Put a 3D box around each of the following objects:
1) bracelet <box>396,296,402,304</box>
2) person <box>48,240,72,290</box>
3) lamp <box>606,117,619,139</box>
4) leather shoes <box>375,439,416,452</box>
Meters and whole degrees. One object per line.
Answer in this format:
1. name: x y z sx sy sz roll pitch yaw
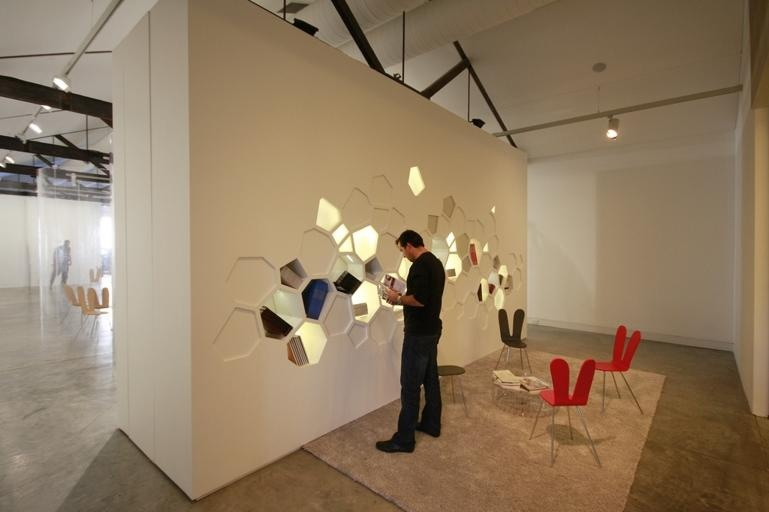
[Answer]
1. bracelet: 0.161 0.504 5.630 0.031 0.080 0.059 -2 -19 8
2. person: -5.715 0.130 8.648 0.365 0.806 0.113 1 3 -6
3. lamp: 3.767 -2.093 8.138 0.151 0.426 1.080 3 4 24
4. leather shoes: 0.102 2.075 5.526 0.377 0.124 0.173 -4 -9 14
